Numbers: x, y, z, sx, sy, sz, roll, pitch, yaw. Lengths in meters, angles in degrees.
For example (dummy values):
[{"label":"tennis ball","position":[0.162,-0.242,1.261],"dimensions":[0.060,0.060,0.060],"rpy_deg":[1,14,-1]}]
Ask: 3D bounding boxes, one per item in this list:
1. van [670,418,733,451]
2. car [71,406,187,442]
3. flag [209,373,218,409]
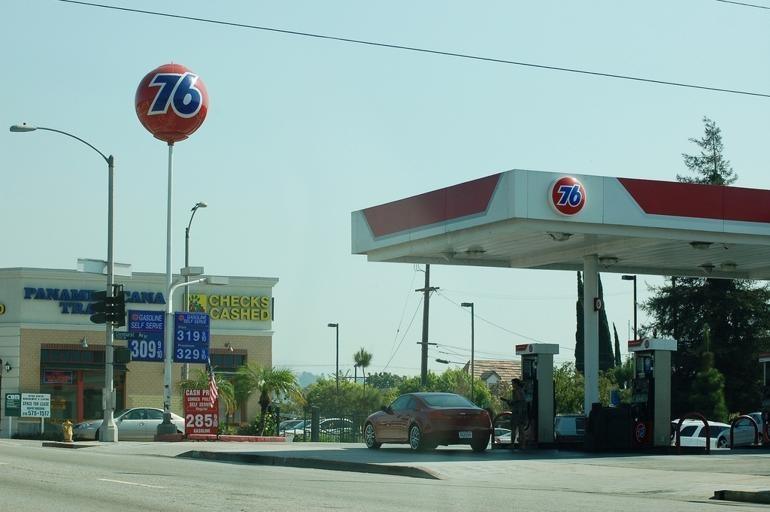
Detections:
[{"label":"van","position":[13.191,7.467,57.305],"dimensions":[1.972,1.909,4.337],"rpy_deg":[-5,-1,18]},{"label":"car","position":[-11.829,8.034,62.145],"dimensions":[6.276,2.255,2.962],"rpy_deg":[2,-6,-31]},{"label":"flag","position":[-7.482,5.794,60.021],"dimensions":[0.406,1.608,1.627],"rpy_deg":[2,-10,-8]}]
